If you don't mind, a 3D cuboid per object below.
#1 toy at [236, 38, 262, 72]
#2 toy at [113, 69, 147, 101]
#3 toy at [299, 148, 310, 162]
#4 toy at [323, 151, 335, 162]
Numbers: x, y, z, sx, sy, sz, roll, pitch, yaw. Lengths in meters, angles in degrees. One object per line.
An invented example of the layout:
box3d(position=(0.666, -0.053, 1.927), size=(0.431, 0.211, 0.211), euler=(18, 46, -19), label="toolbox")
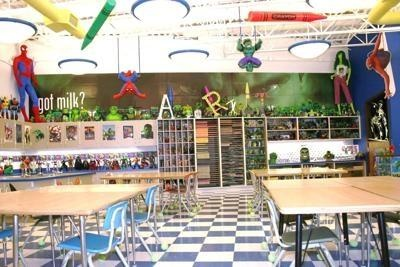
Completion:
box3d(position=(1.430, -2.329, 9.848), size=(0.665, 1.033, 0.645), euler=(-2, 2, 8), label="toy")
box3d(position=(-2.680, -1.812, 12.860), size=(1.322, 1.324, 0.345), euler=(-1, -4, -3), label="toy")
box3d(position=(4.196, 0.812, 13.596), size=(0.356, 0.554, 0.397), euler=(-2, 2, 16), label="toy")
box3d(position=(5.070, 0.894, 13.384), size=(0.378, 0.293, 0.349), euler=(0, -5, 2), label="toy")
